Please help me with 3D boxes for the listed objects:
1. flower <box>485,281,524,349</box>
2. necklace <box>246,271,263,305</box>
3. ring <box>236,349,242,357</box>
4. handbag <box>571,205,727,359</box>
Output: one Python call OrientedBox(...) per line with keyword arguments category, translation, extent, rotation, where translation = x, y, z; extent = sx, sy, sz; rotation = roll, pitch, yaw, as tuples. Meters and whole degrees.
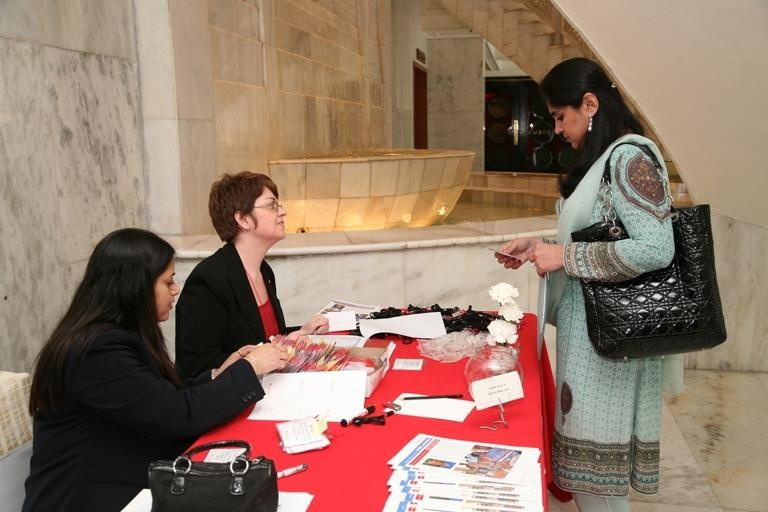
OrientedBox(category="flower", translation=(0.565, 0.274, 2.547), extent=(0.191, 0.262, 0.192), rotation=(17, -28, -17))
OrientedBox(category="necklace", translation=(-0.643, 0.171, 2.773), extent=(0.034, 0.142, 0.104), rotation=(-12, 3, -17))
OrientedBox(category="ring", translation=(-0.579, 0.399, 2.220), extent=(0.023, 0.022, 0.044), rotation=(15, -26, -28))
OrientedBox(category="handbag", translation=(1.019, 0.103, 2.149), extent=(0.491, 0.614, 0.180), rotation=(-15, -8, 6))
